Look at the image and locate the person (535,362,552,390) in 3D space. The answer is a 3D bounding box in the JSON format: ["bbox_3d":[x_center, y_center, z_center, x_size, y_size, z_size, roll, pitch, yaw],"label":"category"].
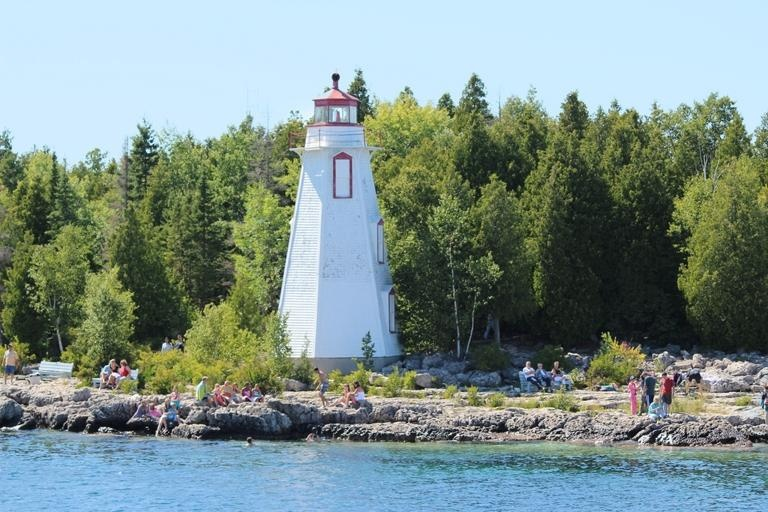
[{"bbox_3d":[10.900,8.187,116.635,0.972,1.962,1.393,-2,-7,5],"label":"person"}]

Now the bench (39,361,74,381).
[{"bbox_3d":[-23.643,8.021,122.607,2.857,1.330,0.929,-5,-8,25],"label":"bench"}]
